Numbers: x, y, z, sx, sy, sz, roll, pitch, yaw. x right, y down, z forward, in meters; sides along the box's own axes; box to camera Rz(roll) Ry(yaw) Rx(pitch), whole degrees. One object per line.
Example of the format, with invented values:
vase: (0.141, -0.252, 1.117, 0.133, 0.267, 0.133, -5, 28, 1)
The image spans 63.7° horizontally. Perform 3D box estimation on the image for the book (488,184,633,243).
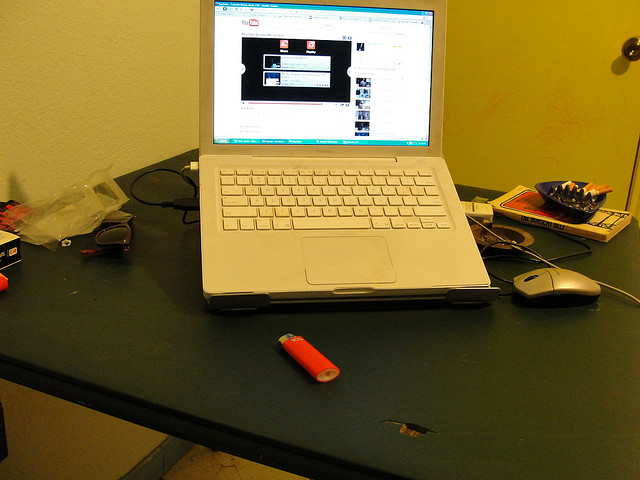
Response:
book: (0.467, -0.081, 1.013, 0.188, 0.025, 0.132, 20, 35, 31)

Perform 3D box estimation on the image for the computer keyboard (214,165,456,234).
computer keyboard: (0.022, -0.070, 0.833, 0.377, 0.056, 0.139, -2, 36, -6)

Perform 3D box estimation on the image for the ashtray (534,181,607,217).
ashtray: (0.508, -0.093, 1.041, 0.115, 0.024, 0.088, -10, 38, -22)

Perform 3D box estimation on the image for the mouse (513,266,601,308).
mouse: (0.355, 0.072, 0.783, 0.111, 0.033, 0.061, 1, 26, -3)
